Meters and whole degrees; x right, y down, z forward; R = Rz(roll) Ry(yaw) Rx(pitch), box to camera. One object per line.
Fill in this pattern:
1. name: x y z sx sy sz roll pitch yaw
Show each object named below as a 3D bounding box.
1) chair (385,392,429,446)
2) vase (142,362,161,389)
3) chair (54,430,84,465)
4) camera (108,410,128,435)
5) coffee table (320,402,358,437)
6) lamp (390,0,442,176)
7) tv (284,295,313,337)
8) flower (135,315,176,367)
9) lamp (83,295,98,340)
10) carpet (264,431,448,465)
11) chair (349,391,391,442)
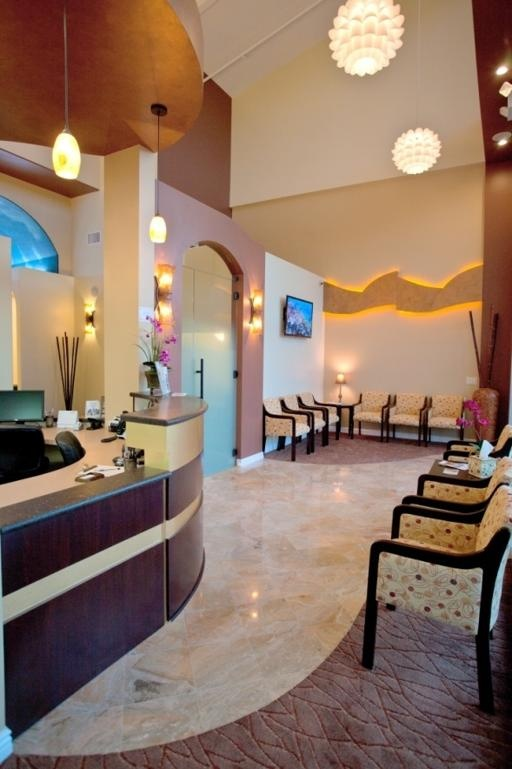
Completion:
1. chair: 2.293 0.506 8.148 0.574 0.966 0.676 1 0 27
2. vase: -0.747 -0.073 3.881 0.163 0.226 0.133 -2 -1 -4
3. chair: -1.104 0.391 3.229 0.157 0.159 0.500 -1 5 -18
4. camera: -0.946 0.267 3.704 0.127 0.161 0.055 8 -17 2
5. coffee table: 1.343 0.528 8.644 0.502 0.624 0.546 0 -2 14
6. lamp: 1.973 -3.693 6.474 0.478 2.529 1.703 2 5 19
7. tv: 0.600 -0.976 7.818 0.099 0.551 1.169 3 5 21
8. flower: -0.770 -0.327 4.067 0.330 0.493 0.318 0 2 -9
9. lamp: -2.041 -0.820 6.639 0.093 0.521 0.260 -4 7 -42
10. carpet: 1.376 0.898 7.132 2.411 0.100 1.690 -2 6 -30
11. chair: 1.821 0.460 8.447 0.579 0.981 0.656 1 0 27
